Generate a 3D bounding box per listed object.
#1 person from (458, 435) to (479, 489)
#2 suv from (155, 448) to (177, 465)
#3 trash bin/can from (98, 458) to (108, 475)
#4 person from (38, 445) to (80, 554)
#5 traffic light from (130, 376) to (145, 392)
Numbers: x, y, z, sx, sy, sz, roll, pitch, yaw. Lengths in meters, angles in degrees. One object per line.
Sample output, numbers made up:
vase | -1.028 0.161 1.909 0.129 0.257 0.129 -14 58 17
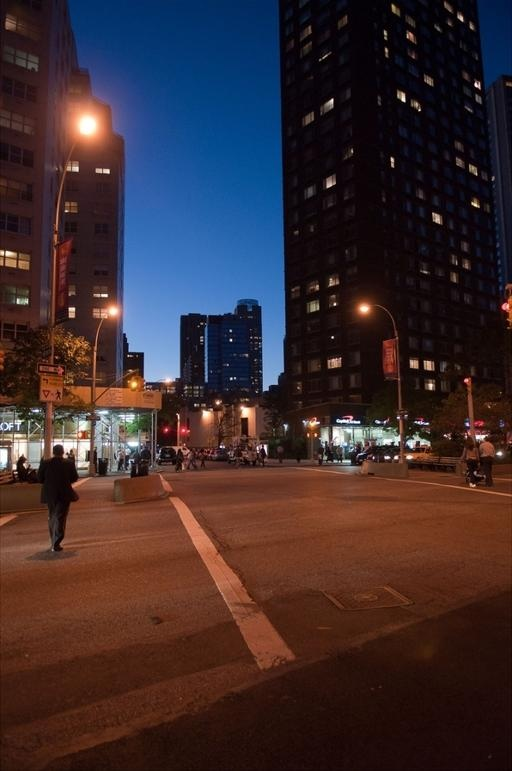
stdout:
person | 7.906 2.825 21.409 0.550 1.583 2.941 -2 -6 21
suv | -9.297 7.512 59.923 1.722 1.984 3.407 0 0 -8
trash bin/can | -9.623 5.117 36.367 0.420 0.944 1.650 2 -6 -23
person | -3.099 1.725 9.067 0.569 1.556 1.134 1 -5 -21
traffic light | -8.658 -0.067 42.190 0.879 1.084 1.734 -2 5 -6
